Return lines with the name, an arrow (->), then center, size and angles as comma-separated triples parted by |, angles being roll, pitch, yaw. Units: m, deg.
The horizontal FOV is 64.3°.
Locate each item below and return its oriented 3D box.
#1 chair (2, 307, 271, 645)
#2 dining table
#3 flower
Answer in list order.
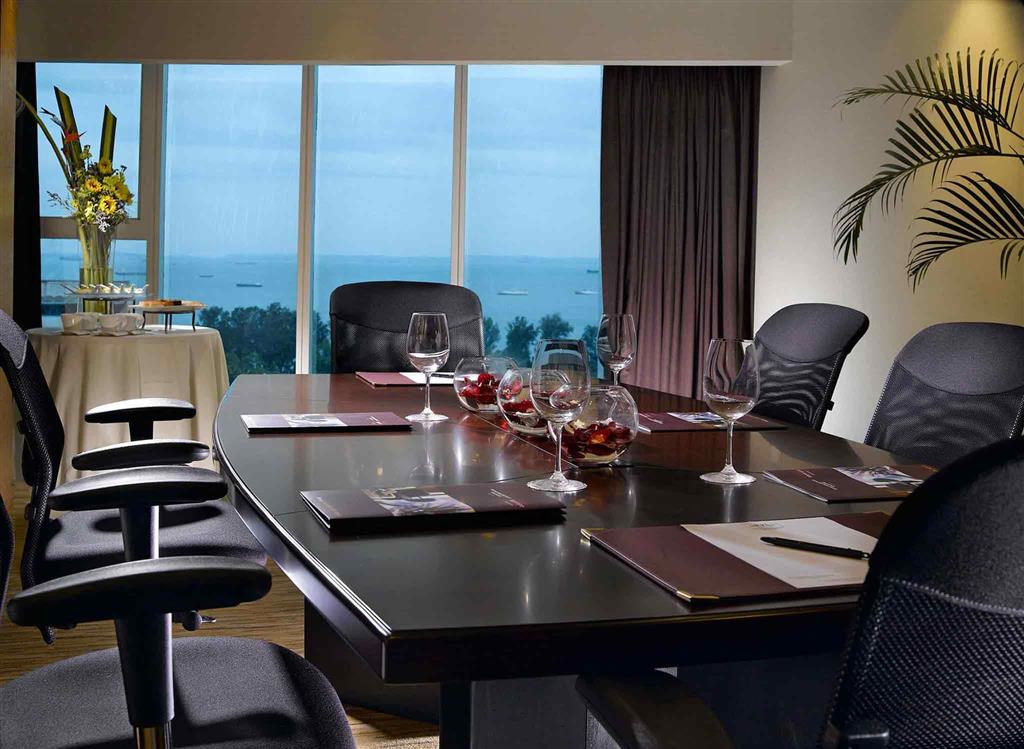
chair -> -0.794, 0.165, 2.162 | 0.687, 1.015, 0.717 | 0, 3, -10
dining table -> -1.737, 0.006, 3.625 | 0.846, 0.581, 0.864 | 4, 5, 29
flower -> -2.052, -0.898, 3.943 | 0.372, 0.734, 0.318 | 1, 17, -1
